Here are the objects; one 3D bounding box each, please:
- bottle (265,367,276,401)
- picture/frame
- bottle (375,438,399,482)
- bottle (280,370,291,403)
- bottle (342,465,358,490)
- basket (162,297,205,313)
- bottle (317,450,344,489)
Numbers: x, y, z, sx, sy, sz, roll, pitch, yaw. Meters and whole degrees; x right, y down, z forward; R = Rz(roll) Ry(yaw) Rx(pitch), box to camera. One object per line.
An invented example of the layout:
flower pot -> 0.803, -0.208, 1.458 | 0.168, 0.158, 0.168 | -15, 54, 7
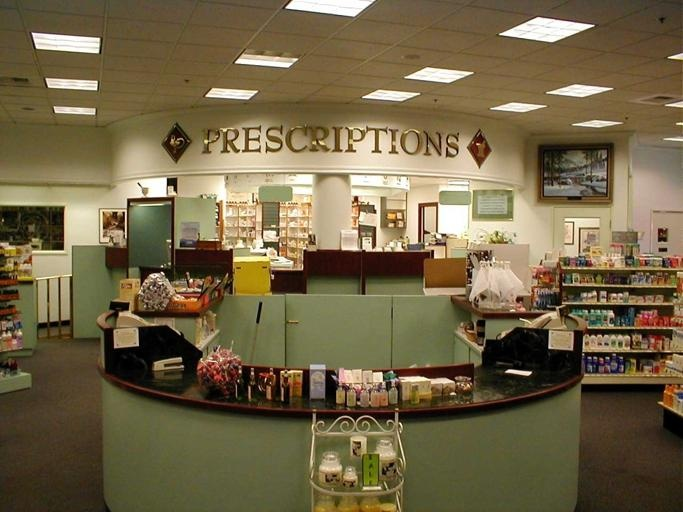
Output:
bottle -> -0.626, 1.110, 4.969 | 0.092, 0.209, 0.244 | -2, 13, -9
picture/frame -> 5.365, -1.950, 12.909 | 1.338, 1.199, 0.106 | 0, 0, 1
bottle -> 0.361, 1.650, 4.625 | 0.228, 0.276, 0.238 | -3, -5, 22
bottle -> -0.490, 1.125, 4.890 | 0.084, 0.226, 0.162 | -1, 12, -6
bottle -> 0.063, 1.759, 4.545 | 0.144, 0.162, 0.143 | -2, 5, -19
basket -> -1.750, 0.540, 6.289 | 0.400, 0.150, 0.217 | -5, 14, -19
bottle -> -0.085, 1.717, 4.559 | 0.196, 0.232, 0.200 | 4, -9, -24
